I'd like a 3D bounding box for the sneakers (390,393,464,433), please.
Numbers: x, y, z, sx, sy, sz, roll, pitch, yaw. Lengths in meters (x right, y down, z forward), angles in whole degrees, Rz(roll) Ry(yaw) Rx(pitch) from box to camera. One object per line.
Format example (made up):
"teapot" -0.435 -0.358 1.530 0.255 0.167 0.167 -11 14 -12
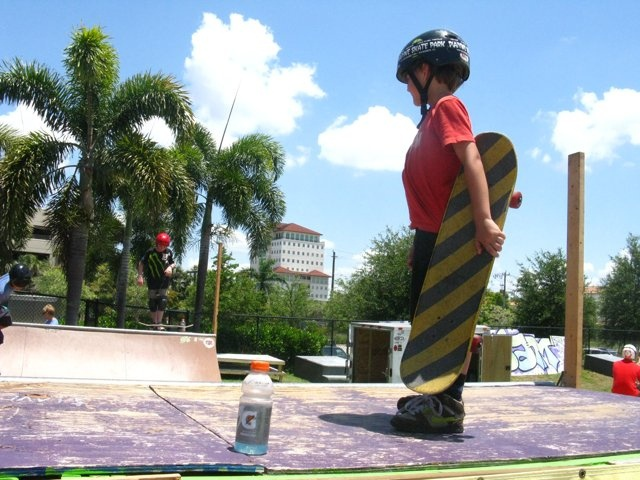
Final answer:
"sneakers" 0.841 1.365 5.171 0.527 0.294 0.276 5 -10 -7

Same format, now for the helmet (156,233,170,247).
"helmet" -2.643 0.013 11.021 0.222 0.276 0.308 16 5 -15

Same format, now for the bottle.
"bottle" -0.460 1.140 4.529 0.255 0.602 0.298 2 -3 -8
